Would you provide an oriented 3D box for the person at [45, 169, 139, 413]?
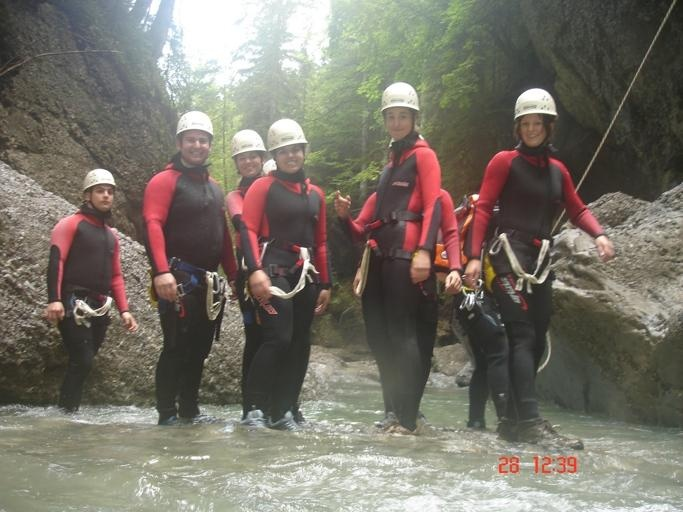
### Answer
[{"bbox_3d":[-2.728,0.331,6.314,0.900,2.631,0.611,5,-6,-35],"label":"person"}]

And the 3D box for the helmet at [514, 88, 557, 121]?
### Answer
[{"bbox_3d":[1.771,-1.391,5.302,0.270,0.275,0.354,5,21,35],"label":"helmet"}]

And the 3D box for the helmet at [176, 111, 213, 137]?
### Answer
[{"bbox_3d":[-1.469,-1.320,5.836,0.257,0.177,0.335,3,-13,-14],"label":"helmet"}]

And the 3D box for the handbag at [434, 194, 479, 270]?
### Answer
[{"bbox_3d":[0.906,-0.193,5.133,0.448,0.613,0.672,-9,-13,15],"label":"handbag"}]

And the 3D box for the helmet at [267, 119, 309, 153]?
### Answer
[{"bbox_3d":[-0.548,-1.206,5.664,0.445,0.292,0.537,-12,12,0],"label":"helmet"}]

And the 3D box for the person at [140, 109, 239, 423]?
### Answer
[{"bbox_3d":[-1.480,0.064,5.520,0.462,2.969,0.752,-2,-6,32],"label":"person"}]
